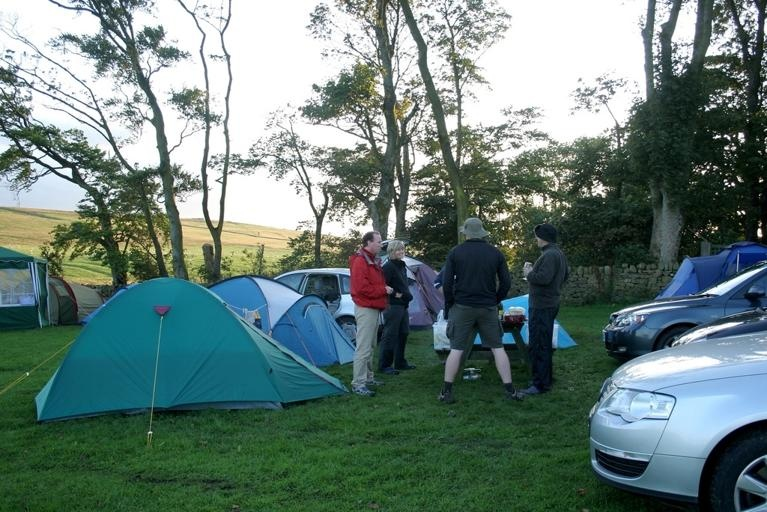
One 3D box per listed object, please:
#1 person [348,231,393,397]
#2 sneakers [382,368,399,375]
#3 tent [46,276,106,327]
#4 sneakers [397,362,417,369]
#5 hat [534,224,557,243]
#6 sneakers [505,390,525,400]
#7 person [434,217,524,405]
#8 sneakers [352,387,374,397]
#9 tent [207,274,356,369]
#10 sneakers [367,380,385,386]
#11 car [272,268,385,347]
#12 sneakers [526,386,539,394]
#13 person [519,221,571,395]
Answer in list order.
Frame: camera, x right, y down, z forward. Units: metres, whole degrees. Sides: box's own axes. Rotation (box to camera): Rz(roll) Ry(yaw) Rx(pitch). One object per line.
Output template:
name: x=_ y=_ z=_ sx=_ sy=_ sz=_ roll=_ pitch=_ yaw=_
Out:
person: x=-0.261 y=0.992 z=11.131 sx=0.647 sy=2.863 sz=0.592 roll=0 pitch=-1 yaw=-21
sneakers: x=0.145 y=2.259 z=12.236 sx=0.262 sy=0.112 sz=0.124 roll=-5 pitch=-1 yaw=22
tent: x=-10.973 y=1.655 z=22.109 sx=2.221 sy=1.026 sz=2.272 roll=3 pitch=2 yaw=27
sneakers: x=0.454 y=2.206 z=12.626 sx=0.395 sy=0.168 sz=0.132 roll=-2 pitch=1 yaw=-18
hat: x=2.779 y=-0.344 z=10.592 sx=0.370 sy=0.216 sz=0.263 roll=28 pitch=-1 yaw=-24
sneakers: x=2.152 y=2.289 z=10.351 sx=0.262 sy=0.127 sz=0.144 roll=1 pitch=7 yaw=-5
person: x=1.480 y=0.885 z=10.232 sx=1.136 sy=3.012 sz=0.411 roll=-1 pitch=-1 yaw=6
sneakers: x=-0.353 y=2.371 z=10.880 sx=0.343 sy=0.147 sz=0.130 roll=-1 pitch=-1 yaw=17
tent: x=-2.208 y=1.118 z=13.060 sx=2.510 sy=1.044 sz=1.878 roll=9 pitch=6 yaw=30
sneakers: x=-0.149 y=2.327 z=11.457 sx=0.335 sy=0.132 sz=0.111 roll=0 pitch=1 yaw=-14
car: x=-1.345 y=1.118 z=15.477 sx=2.463 sy=1.272 sz=1.524 roll=6 pitch=-4 yaw=13
sneakers: x=2.510 y=2.271 z=10.576 sx=0.154 sy=0.060 sz=0.120 roll=-3 pitch=6 yaw=-6
person: x=2.676 y=0.893 z=10.488 sx=0.694 sy=2.855 sz=0.455 roll=-1 pitch=-1 yaw=13
